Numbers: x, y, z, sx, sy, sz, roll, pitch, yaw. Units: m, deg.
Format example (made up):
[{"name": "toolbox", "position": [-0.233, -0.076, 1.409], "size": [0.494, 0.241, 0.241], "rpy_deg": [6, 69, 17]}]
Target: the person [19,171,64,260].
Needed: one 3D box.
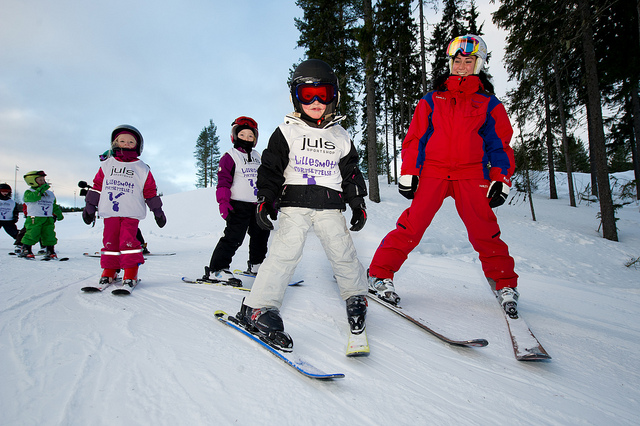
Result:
[{"name": "person", "position": [-5.393, 0.021, 7.625], "size": [0.706, 1.694, 1.419], "rpy_deg": [-3, 13, -34]}]

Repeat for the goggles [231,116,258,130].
[{"name": "goggles", "position": [-1.086, -1.314, 5.675], "size": [0.331, 0.137, 0.193], "rpy_deg": [1, 11, -14]}]

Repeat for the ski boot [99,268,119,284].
[{"name": "ski boot", "position": [-2.611, 0.770, 4.877], "size": [0.160, 0.156, 0.303], "rpy_deg": [4, 10, 0]}]

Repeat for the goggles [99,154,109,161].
[{"name": "goggles", "position": [-2.759, -0.713, 5.059], "size": [0.100, 0.073, 0.122], "rpy_deg": [-1, 11, -25]}]

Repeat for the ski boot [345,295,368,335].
[{"name": "ski boot", "position": [0.351, 0.958, 3.759], "size": [0.131, 0.159, 0.368], "rpy_deg": [-2, 38, 5]}]

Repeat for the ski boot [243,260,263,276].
[{"name": "ski boot", "position": [-1.013, 0.789, 5.777], "size": [0.252, 0.199, 0.181], "rpy_deg": [5, 10, 8]}]

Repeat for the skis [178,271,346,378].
[{"name": "skis", "position": [-0.551, 1.087, 3.805], "size": [0.278, 0.131, 2.396], "rpy_deg": [-9, 20, -42]}]

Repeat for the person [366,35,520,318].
[{"name": "person", "position": [1.531, -0.499, 4.519], "size": [1.555, 3.126, 0.874], "rpy_deg": [5, 11, 5]}]

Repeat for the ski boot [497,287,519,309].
[{"name": "ski boot", "position": [2.072, 0.913, 4.388], "size": [0.209, 0.202, 0.238], "rpy_deg": [9, 11, 25]}]

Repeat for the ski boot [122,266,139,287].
[{"name": "ski boot", "position": [-2.287, 0.766, 4.755], "size": [0.145, 0.217, 0.300], "rpy_deg": [0, 11, -18]}]

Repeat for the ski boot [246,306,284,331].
[{"name": "ski boot", "position": [-0.519, 0.963, 3.672], "size": [0.360, 0.172, 0.234], "rpy_deg": [3, 10, -5]}]

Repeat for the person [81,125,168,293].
[{"name": "person", "position": [-2.458, -0.105, 4.977], "size": [0.902, 1.966, 0.908], "rpy_deg": [-3, 12, -31]}]
